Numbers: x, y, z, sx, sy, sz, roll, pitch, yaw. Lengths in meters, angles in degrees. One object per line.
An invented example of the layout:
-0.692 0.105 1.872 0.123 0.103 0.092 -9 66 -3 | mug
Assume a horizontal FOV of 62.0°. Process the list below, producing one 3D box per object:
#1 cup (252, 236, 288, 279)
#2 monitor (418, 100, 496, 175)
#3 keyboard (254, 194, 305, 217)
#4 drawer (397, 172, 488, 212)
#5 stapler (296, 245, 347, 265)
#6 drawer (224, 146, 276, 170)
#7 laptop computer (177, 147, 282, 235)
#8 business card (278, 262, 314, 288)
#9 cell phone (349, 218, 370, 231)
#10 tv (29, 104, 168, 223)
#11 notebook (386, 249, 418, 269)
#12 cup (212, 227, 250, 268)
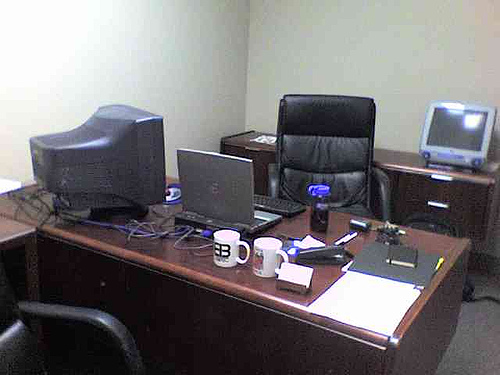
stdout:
0.098 0.307 1.733 0.168 0.129 0.107 11 11 41 | cup
1.609 -0.364 3.198 0.498 0.574 0.301 8 9 30 | monitor
0.153 0.101 2.331 0.225 0.035 0.124 13 21 34 | keyboard
1.489 0.024 3.191 0.592 0.282 0.294 12 22 27 | drawer
0.315 0.284 1.836 0.170 0.065 0.096 0 4 0 | stapler
0.064 -0.377 3.982 0.499 0.224 0.475 9 23 24 | drawer
-0.082 -0.063 2.133 0.488 0.422 0.381 13 26 29 | laptop computer
0.185 0.334 1.658 0.092 0.022 0.094 11 17 24 | business card
0.567 0.187 2.133 0.100 0.035 0.081 10 21 25 | cell phone
-0.784 -0.128 2.273 0.643 0.532 0.701 8 18 14 | tv
0.678 0.306 1.845 0.132 0.028 0.134 8 21 20 | notebook
-0.089 0.270 1.817 0.169 0.124 0.110 7 9 3 | cup
